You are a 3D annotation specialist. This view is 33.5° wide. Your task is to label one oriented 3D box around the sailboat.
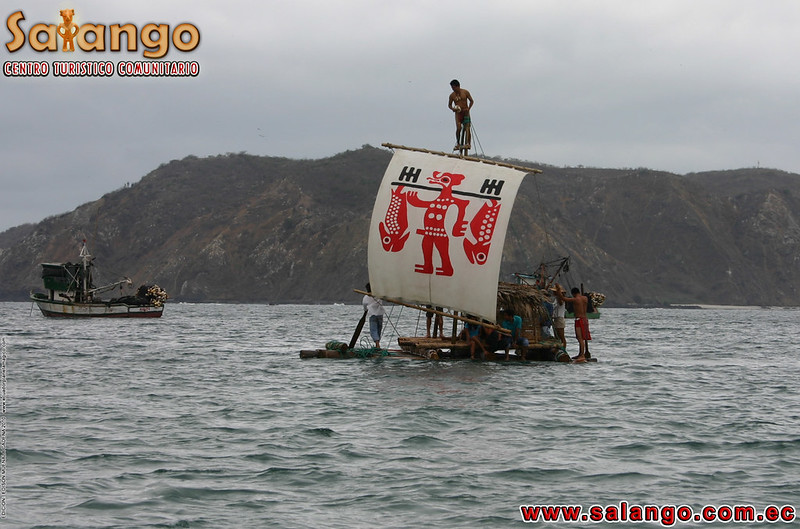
[{"bbox_3d":[5.091,-0.243,81.483,17.947,14.269,13.394,6,-7,-42],"label":"sailboat"}]
